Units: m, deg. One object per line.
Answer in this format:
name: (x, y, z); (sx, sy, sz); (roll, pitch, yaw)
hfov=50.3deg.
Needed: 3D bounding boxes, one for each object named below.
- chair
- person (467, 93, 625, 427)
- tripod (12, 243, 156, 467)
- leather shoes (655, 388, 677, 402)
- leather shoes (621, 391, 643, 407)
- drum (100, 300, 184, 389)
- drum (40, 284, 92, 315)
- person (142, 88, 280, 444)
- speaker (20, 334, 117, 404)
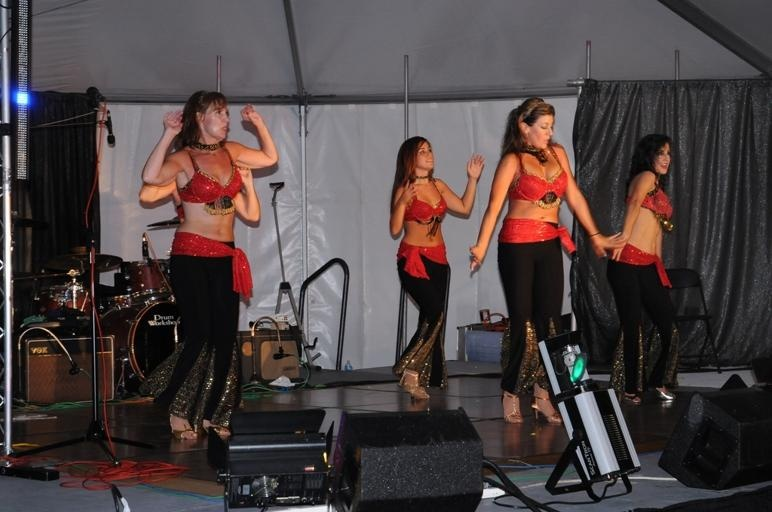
chair: (3.108, 0.647, 8.343); (0.727, 0.961, 0.771); (3, -7, -7)
person: (1.139, 0.053, 6.268); (0.919, 2.466, 0.675); (3, 8, 15)
tripod: (-2.225, 0.664, 5.940); (0.799, 1.590, 1.988); (-3, 9, -25)
leather shoes: (2.378, 1.177, 6.995); (0.087, 0.080, 0.152); (1, 2, -38)
leather shoes: (2.031, 1.186, 6.806); (0.146, 0.065, 0.084); (-1, 1, 35)
drum: (-2.183, 0.784, 7.219); (0.698, 0.884, 0.430); (-10, 2, -41)
drum: (-2.967, 0.383, 7.579); (0.301, 0.254, 0.339); (2, 4, 45)
person: (-1.296, 0.061, 5.965); (0.847, 2.474, 0.757); (0, 7, -4)
speaker: (-2.805, 0.987, 7.137); (0.651, 0.639, 0.256); (1, -8, -21)
